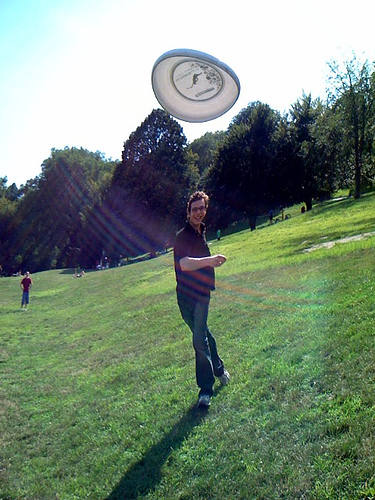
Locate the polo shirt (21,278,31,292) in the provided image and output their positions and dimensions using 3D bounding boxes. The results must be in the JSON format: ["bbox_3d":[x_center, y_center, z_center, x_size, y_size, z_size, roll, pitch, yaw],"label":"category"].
[{"bbox_3d":[-9.304,2.036,21.669,0.521,0.866,0.344,-7,2,13],"label":"polo shirt"}]

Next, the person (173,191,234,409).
[{"bbox_3d":[0.174,0.639,4.832,0.603,2.468,1.059,-7,2,4],"label":"person"}]

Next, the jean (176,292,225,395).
[{"bbox_3d":[0.233,1.216,4.894,0.367,1.206,0.571,-5,3,45],"label":"jean"}]
